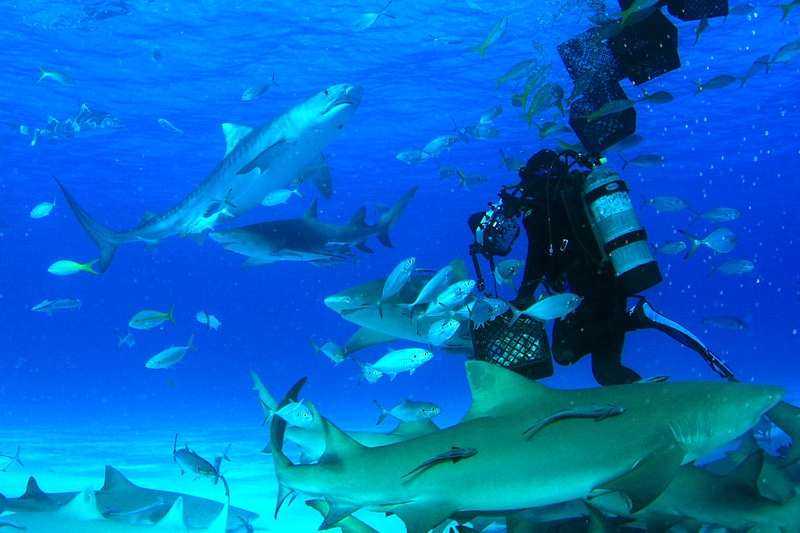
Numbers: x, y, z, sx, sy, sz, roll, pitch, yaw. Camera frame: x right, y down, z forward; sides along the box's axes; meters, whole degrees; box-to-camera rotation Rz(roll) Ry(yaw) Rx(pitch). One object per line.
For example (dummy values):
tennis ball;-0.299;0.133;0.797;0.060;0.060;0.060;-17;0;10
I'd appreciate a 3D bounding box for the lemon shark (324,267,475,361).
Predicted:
lemon shark;-0.459;2.106;27.688;5.292;2.850;3.076;-10;77;-12

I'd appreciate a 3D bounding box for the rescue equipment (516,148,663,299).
rescue equipment;6.655;-1.613;26.279;4.621;4.157;3.633;0;41;9

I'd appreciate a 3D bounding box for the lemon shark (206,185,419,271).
lemon shark;-3.808;-0.942;30.177;7.910;3.451;2.612;-5;56;-19
